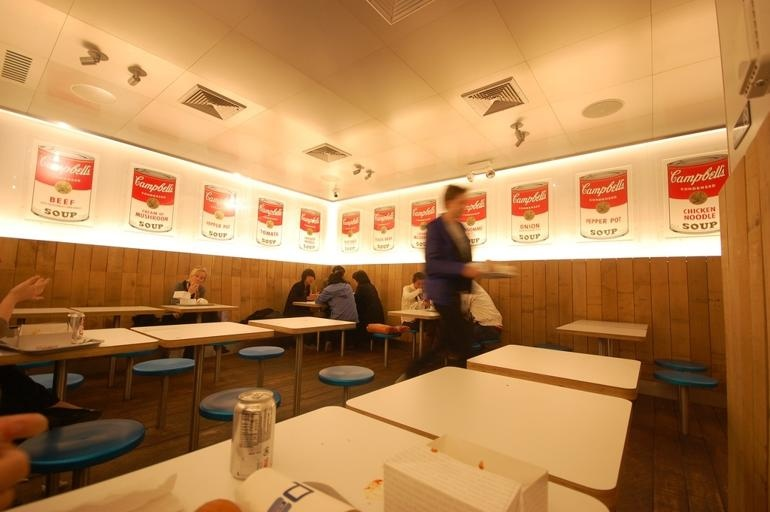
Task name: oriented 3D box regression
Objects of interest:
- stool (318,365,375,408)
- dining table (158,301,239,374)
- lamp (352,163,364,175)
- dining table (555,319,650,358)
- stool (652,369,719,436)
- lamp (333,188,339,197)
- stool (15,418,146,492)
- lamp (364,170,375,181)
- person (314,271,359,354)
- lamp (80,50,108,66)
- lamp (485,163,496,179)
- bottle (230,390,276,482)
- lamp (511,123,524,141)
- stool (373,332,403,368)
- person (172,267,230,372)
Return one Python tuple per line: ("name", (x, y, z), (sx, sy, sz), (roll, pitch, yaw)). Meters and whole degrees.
("stool", (-0.368, 1.189, 4.834), (0.452, 0.471, 0.446), (2, 8, 8))
("dining table", (-2.617, 1.062, 6.784), (0.956, 0.881, 0.938), (3, -7, -43))
("lamp", (-0.463, -1.427, 7.898), (0.124, 0.165, 0.162), (-6, -33, 17))
("dining table", (2.612, 0.875, 5.696), (0.728, 0.680, 0.732), (-3, -5, 36))
("stool", (3.371, 1.415, 5.291), (0.729, 0.741, 0.667), (0, 0, -37))
("lamp", (-0.929, -1.231, 9.218), (0.092, 0.131, 0.133), (1, -2, -19))
("stool", (-2.303, 1.320, 3.775), (0.627, 0.666, 0.641), (4, 6, -15))
("lamp", (-0.279, -1.336, 8.024), (0.153, 0.153, 0.221), (-2, 3, 3))
("person", (-0.895, 0.899, 8.381), (0.776, 1.317, 0.643), (0, -4, 27))
("lamp", (-3.202, -2.146, 5.301), (0.333, 0.096, 0.169), (-4, -2, 14))
("lamp", (1.627, -1.300, 7.579), (0.177, 0.192, 0.172), (15, -41, 6))
("bottle", (-0.808, 1.086, 2.951), (0.281, 0.502, 0.240), (-3, -3, -18))
("lamp", (1.734, -1.638, 6.368), (0.183, 0.183, 0.181), (0, 3, 6))
("stool", (-0.009, 1.464, 7.731), (0.492, 0.623, 0.487), (7, -9, -44))
("person", (-2.827, 0.817, 7.167), (0.733, 1.264, 0.456), (2, -12, 40))
